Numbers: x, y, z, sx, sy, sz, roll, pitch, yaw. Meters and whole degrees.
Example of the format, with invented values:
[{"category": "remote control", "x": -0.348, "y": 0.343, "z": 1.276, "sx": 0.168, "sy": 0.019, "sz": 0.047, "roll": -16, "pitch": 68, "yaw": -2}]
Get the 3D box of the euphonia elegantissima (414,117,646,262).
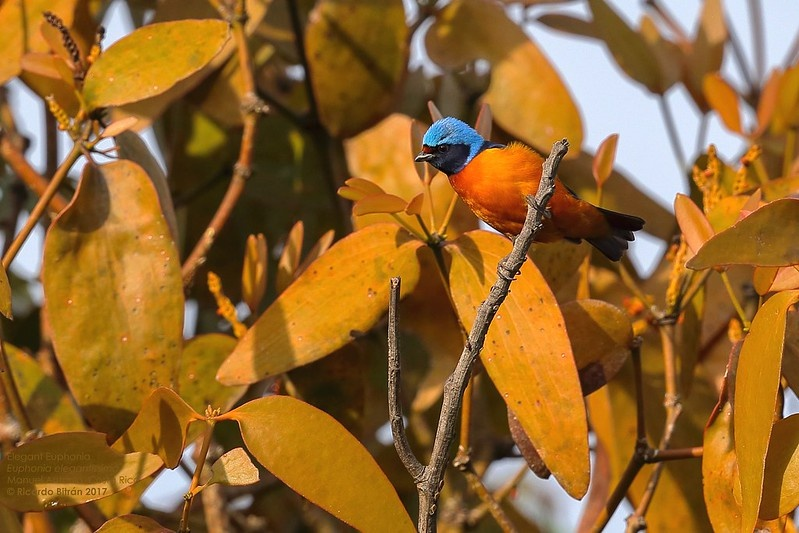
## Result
[{"category": "euphonia elegantissima", "x": 0.434, "y": -0.236, "z": 4.819, "sx": 0.762, "sy": 0.446, "sz": 0.263, "roll": 7, "pitch": -24, "yaw": -12}]
